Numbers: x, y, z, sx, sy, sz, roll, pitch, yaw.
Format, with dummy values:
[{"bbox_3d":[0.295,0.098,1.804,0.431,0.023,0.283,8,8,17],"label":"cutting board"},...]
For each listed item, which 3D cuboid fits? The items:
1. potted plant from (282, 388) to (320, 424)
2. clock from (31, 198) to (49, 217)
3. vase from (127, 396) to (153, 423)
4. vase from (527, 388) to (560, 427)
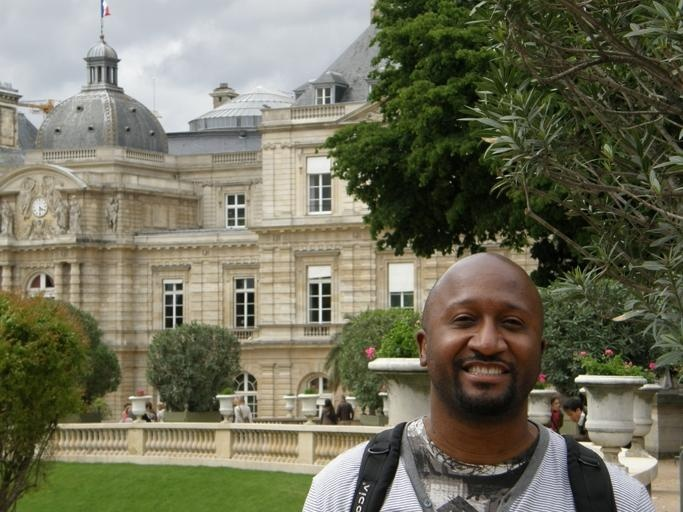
[{"bbox_3d":[-1.329,4.864,46.524,1.851,0.943,1.472,-2,-12,10],"label":"potted plant"},{"bbox_3d":[-13.090,-2.094,62.675,0.911,0.886,0.095,-6,-5,31],"label":"clock"},{"bbox_3d":[-5.804,4.432,42.068,0.825,0.920,0.824,-1,-7,-4],"label":"vase"},{"bbox_3d":[3.587,2.772,26.197,0.575,0.597,0.516,2,-2,1],"label":"vase"}]
